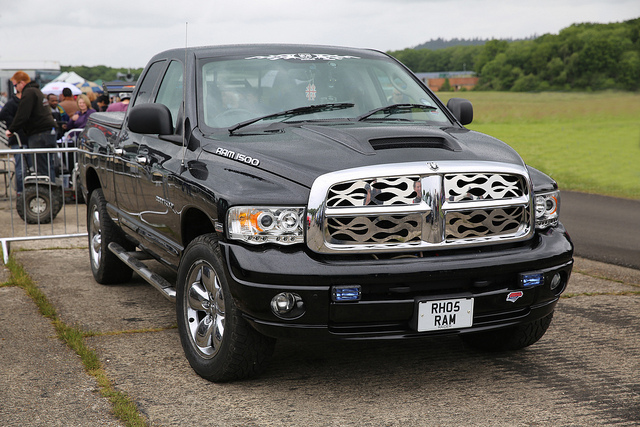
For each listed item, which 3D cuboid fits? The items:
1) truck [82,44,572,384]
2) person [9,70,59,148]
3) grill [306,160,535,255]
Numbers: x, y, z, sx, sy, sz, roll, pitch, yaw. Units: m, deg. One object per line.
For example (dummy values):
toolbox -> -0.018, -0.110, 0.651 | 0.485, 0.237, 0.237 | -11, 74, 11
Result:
truck -> -0.732, -0.425, 7.227 | 3.363, 2.598, 6.747 | -6, 11, -32
person -> -5.629, -2.005, 11.326 | 0.839, 1.450, 0.711 | 7, 13, 30
grill -> 0.852, -0.036, 4.562 | 1.873, 0.689, 0.311 | -3, 1, -13
